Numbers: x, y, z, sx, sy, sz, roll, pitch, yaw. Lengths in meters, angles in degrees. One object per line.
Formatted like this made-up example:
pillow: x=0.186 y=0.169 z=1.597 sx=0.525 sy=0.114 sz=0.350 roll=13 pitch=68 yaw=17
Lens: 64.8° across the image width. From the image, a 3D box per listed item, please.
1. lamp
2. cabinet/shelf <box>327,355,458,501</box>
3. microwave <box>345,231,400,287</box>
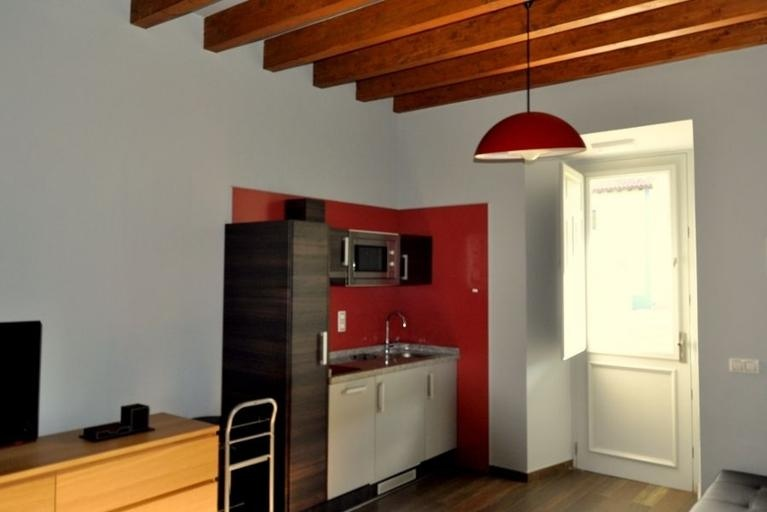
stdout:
lamp: x=0.998 y=-1.351 z=4.456 sx=0.695 sy=1.347 sz=1.008 roll=0 pitch=-2 yaw=0
cabinet/shelf: x=0.048 y=1.599 z=5.583 sx=0.450 sy=0.810 sz=1.327 roll=-6 pitch=-5 yaw=37
microwave: x=-0.105 y=0.037 z=5.870 sx=0.460 sy=0.589 sz=0.784 roll=-4 pitch=-5 yaw=34
